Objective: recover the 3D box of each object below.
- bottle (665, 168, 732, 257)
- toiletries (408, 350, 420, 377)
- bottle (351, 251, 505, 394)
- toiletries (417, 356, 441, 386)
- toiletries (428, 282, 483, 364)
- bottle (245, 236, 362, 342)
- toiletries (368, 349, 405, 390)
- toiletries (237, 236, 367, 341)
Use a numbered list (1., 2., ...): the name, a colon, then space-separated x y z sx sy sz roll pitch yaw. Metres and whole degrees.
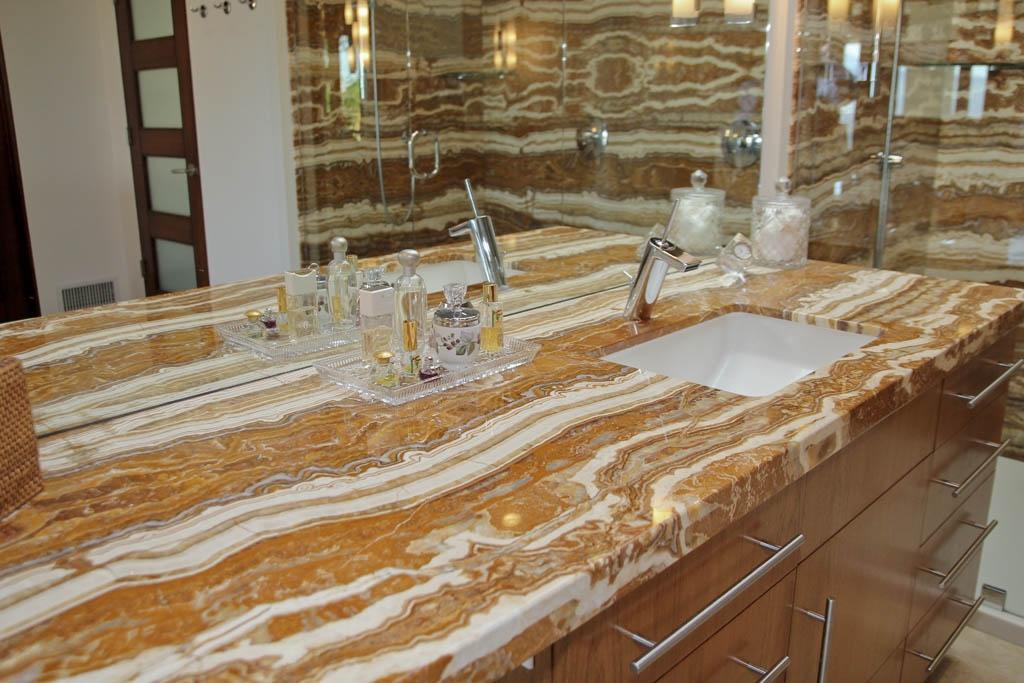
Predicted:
1. bottle: 0.631 -0.442 2.270 0.202 0.282 0.194 0 12 0
2. toiletries: -0.192 0.045 1.311 0.028 0.048 0.048 -1 16 -12
3. bottle: -0.161 -0.056 1.359 0.205 0.245 0.381 22 25 37
4. toiletries: -0.164 0.055 1.322 0.032 0.018 0.051 -5 19 -18
5. toiletries: -0.120 -0.035 1.382 0.103 0.155 0.103 15 23 34
6. bottle: -0.459 -0.116 1.464 0.250 0.164 0.171 -20 31 -41
7. toiletries: -0.246 0.051 1.306 0.070 0.064 0.068 -7 17 -26
8. toiletries: -0.471 -0.123 1.455 0.174 0.178 0.270 18 23 33
